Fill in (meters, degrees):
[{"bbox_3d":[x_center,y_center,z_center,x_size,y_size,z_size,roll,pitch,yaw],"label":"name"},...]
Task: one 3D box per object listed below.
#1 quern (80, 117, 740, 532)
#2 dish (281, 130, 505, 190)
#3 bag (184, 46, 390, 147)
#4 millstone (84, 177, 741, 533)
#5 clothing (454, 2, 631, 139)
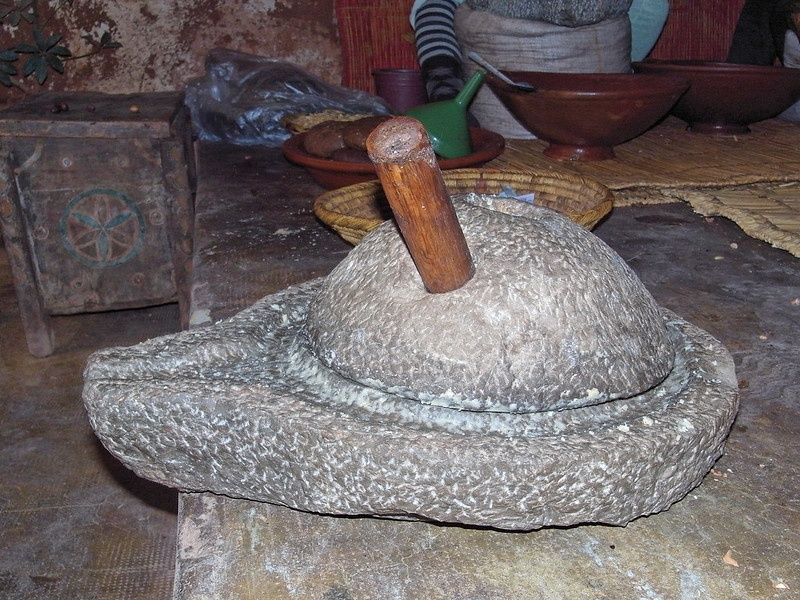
[{"bbox_3d":[0.077,0.047,1.699,1.436,0.528,0.784,1,24,-1],"label":"quern"},{"bbox_3d":[0.002,-0.411,2.570,0.515,0.064,0.377,-4,18,-6],"label":"dish"},{"bbox_3d":[-0.543,-0.860,3.609,0.904,0.146,0.508,12,24,21],"label":"bag"},{"bbox_3d":[0.116,0.088,1.597,1.258,0.279,0.716,-2,18,-7],"label":"millstone"},{"bbox_3d":[0.544,-0.903,3.447,0.770,0.373,0.741,-23,30,-39],"label":"clothing"}]
